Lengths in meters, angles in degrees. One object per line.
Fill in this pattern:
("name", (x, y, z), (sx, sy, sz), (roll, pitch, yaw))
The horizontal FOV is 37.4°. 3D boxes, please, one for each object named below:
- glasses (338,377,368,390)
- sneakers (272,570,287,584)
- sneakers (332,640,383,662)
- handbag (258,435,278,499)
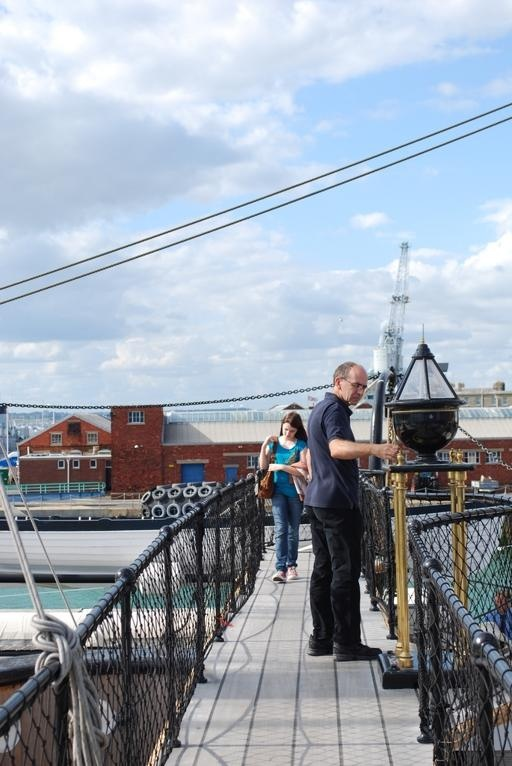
("glasses", (0.610, 0.005, 4.601), (0.135, 0.076, 0.068), (-4, 5, -19))
("sneakers", (0.240, 1.971, 7.728), (0.136, 0.150, 0.361), (-1, -15, 2))
("sneakers", (0.625, 1.676, 4.771), (0.331, 0.138, 0.108), (-1, -1, -3))
("handbag", (0.117, 0.840, 7.401), (0.196, 0.601, 0.599), (-3, 5, 2))
